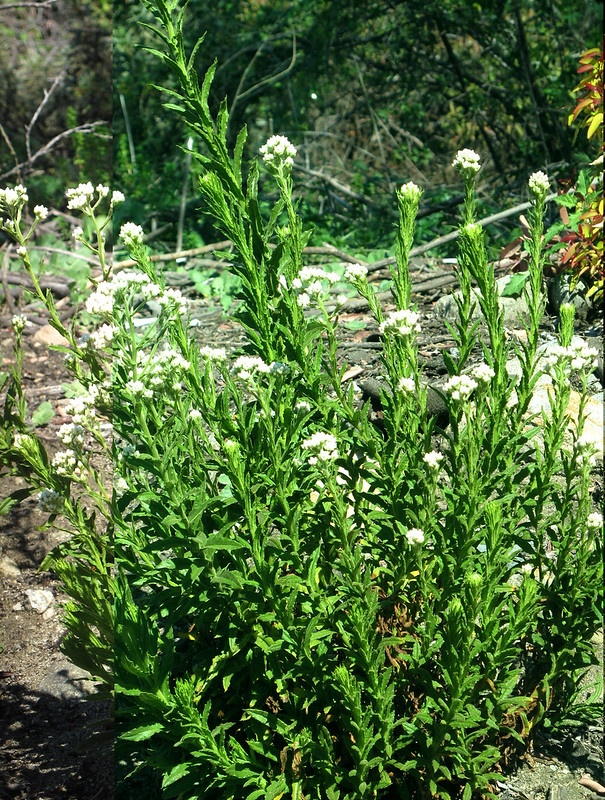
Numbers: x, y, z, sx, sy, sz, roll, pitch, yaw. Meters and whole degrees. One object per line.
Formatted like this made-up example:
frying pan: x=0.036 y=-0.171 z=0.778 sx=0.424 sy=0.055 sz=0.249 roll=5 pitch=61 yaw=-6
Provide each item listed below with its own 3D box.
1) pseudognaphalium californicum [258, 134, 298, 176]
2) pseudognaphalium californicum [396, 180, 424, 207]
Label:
pseudognaphalium californicum: x=-0.039 y=-0.494 z=1.812 sx=0.089 sy=0.085 sz=0.086 roll=1 pitch=9 yaw=22
pseudognaphalium californicum: x=0.232 y=-0.437 z=1.880 sx=0.062 sy=0.056 sz=0.059 roll=5 pitch=14 yaw=9
